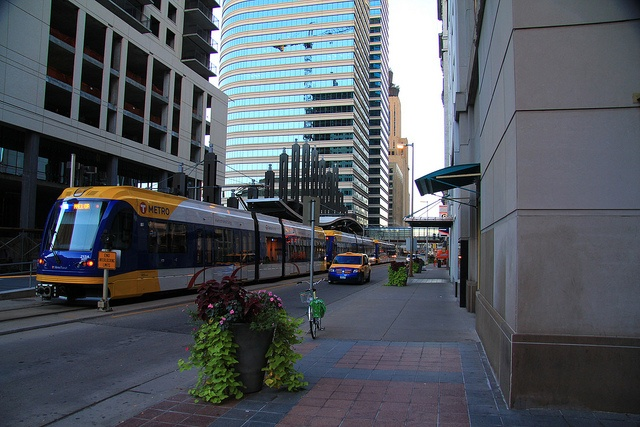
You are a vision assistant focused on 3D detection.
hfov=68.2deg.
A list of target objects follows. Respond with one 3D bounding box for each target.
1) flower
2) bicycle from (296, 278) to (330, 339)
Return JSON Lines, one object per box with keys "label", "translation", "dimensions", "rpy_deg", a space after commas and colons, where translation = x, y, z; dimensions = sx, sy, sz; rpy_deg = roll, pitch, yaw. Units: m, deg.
{"label": "flower", "translation": [-1.093, 2.161, 8.458], "dimensions": [1.758, 1.602, 0.979], "rpy_deg": [-7, -11, 36]}
{"label": "bicycle", "translation": [-0.162, 2.515, 12.891], "dimensions": [0.914, 1.420, 2.256], "rpy_deg": [-5, -1, 6]}
